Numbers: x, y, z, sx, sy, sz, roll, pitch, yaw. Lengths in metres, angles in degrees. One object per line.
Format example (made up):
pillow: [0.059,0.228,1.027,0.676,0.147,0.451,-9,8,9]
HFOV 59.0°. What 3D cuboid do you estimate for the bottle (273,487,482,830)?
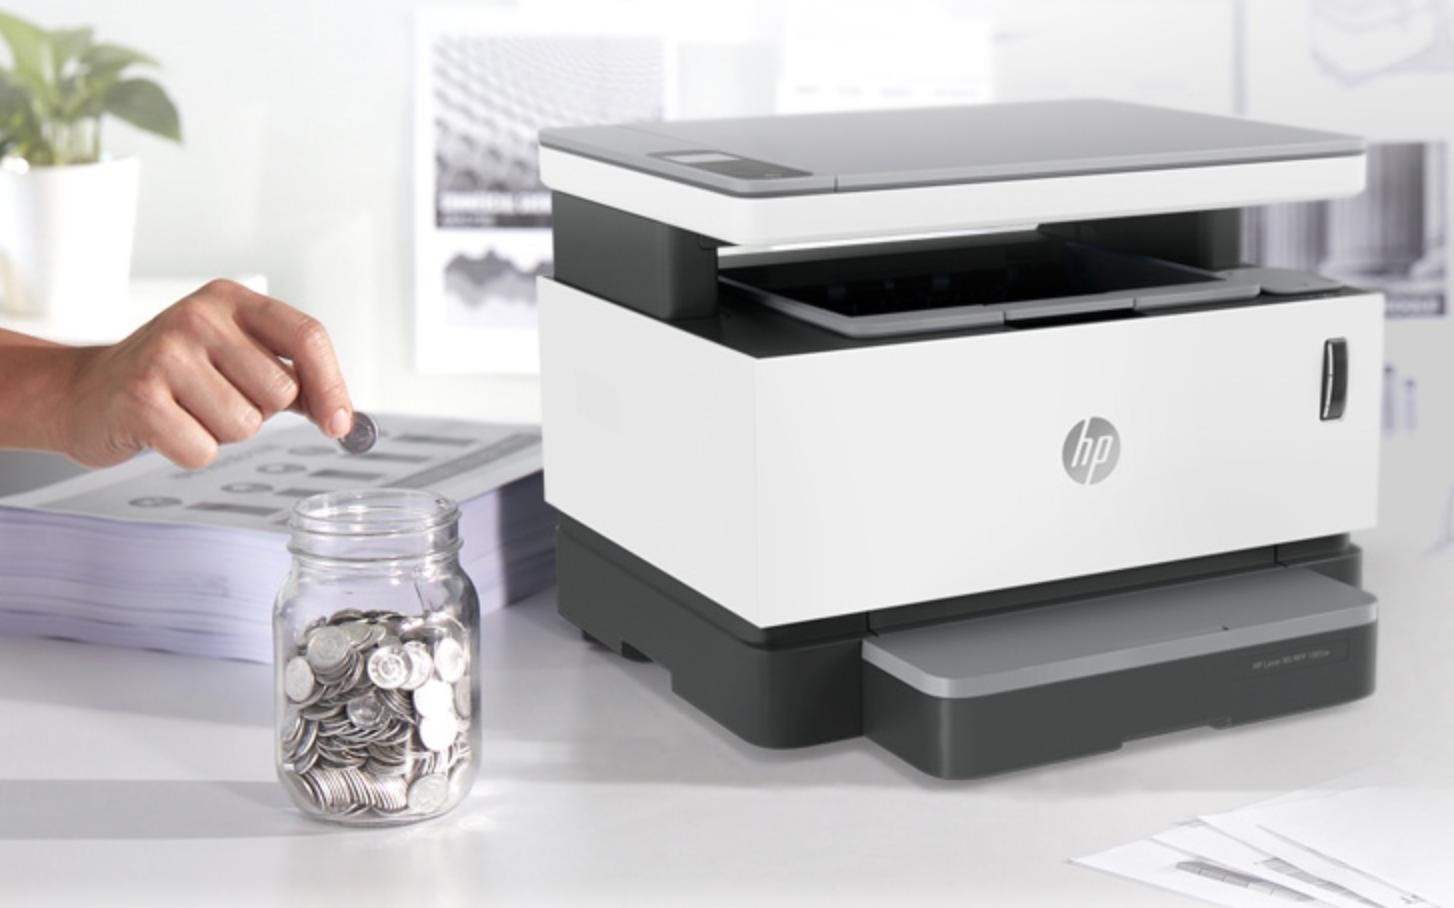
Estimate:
bottle: [-0.234,0.148,0.939,0.158,0.221,0.151,0,9,0]

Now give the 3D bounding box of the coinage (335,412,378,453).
coinage: [-0.278,-0.021,0.971,0.032,0.030,0.018,-12,27,-34]

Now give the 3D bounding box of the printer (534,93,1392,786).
printer: [0.215,-0.047,1.142,0.660,0.414,0.568,-8,18,-31]
